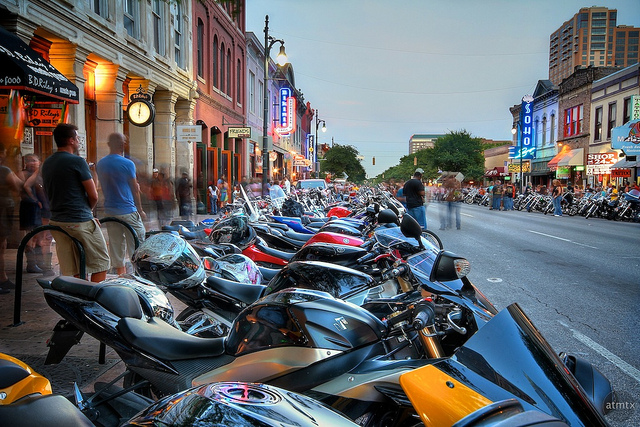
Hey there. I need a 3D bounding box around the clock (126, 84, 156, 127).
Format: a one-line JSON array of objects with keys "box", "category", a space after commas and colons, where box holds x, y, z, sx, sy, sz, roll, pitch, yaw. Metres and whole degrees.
[{"box": [-6.838, -3.994, 15.292, 0.908, 1.451, 1.170, -1, 8, -26], "category": "clock"}]

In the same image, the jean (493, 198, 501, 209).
[{"box": [15.606, -0.919, 35.748, 0.600, 0.917, 0.869, 6, 8, 24], "category": "jean"}]

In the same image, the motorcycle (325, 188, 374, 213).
[{"box": [1.187, -0.586, 16.586, 1.855, 1.196, 1.224, -8, 26, 0], "category": "motorcycle"}]

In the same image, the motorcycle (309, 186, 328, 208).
[{"box": [-0.093, -0.656, 16.160, 0.585, 0.580, 0.905, -4, -11, -3], "category": "motorcycle"}]

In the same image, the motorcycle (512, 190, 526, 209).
[{"box": [17.217, -1.004, 35.066, 0.575, 1.314, 1.778, 3, 7, 6], "category": "motorcycle"}]

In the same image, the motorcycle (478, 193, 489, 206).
[{"box": [17.951, -1.609, 44.238, 0.504, 1.327, 1.594, 3, 7, 5], "category": "motorcycle"}]

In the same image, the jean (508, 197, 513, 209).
[{"box": [16.564, -0.924, 35.210, 0.300, 0.970, 0.873, 8, 9, 39], "category": "jean"}]

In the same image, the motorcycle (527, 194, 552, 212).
[{"box": [17.022, -0.729, 31.328, 0.979, 1.367, 3.610, 5, 7, 17], "category": "motorcycle"}]

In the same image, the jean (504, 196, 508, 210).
[{"box": [16.192, -0.944, 35.132, 0.348, 1.148, 0.326, -4, 9, -41], "category": "jean"}]

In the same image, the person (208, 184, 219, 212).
[{"box": [-6.030, -0.914, 22.737, 0.453, 1.339, 0.706, 2, 7, -3], "category": "person"}]

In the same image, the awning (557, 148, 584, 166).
[{"box": [25.351, -5.547, 40.638, 1.443, 1.622, 2.671, 15, -1, 4], "category": "awning"}]

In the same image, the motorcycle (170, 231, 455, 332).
[{"box": [-0.090, 0.585, 3.623, 2.168, 1.118, 0.883, -1, 20, 2], "category": "motorcycle"}]

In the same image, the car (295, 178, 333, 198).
[{"box": [-0.597, -1.833, 29.682, 1.644, 1.351, 2.651, -4, -3, 2], "category": "car"}]

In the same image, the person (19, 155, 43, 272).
[{"box": [-6.364, -0.046, 8.920, 0.427, 2.380, 1.572, -3, 9, -36], "category": "person"}]

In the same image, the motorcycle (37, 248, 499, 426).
[{"box": [-0.337, 0.824, 2.833, 2.146, 1.034, 0.987, 4, 26, 5], "category": "motorcycle"}]

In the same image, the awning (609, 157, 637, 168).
[{"box": [23.509, -3.877, 31.151, 0.709, 0.743, 2.328, 4, 7, 11], "category": "awning"}]

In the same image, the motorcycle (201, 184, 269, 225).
[{"box": [-1.745, -0.049, 7.916, 1.155, 0.738, 0.688, -14, 15, 14], "category": "motorcycle"}]
